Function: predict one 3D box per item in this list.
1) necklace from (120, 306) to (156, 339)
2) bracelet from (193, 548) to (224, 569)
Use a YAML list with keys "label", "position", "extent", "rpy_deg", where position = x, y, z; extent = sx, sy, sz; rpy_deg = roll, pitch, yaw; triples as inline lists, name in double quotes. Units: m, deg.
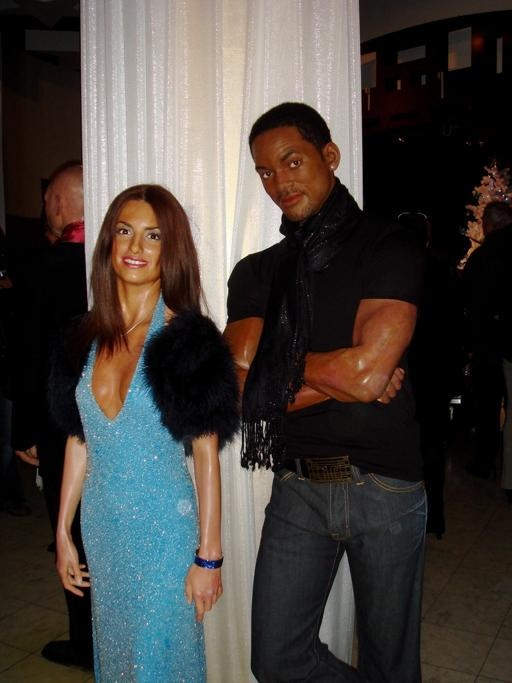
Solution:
- label: "necklace"
  position: [-0.307, -0.057, 1.610]
  extent: [0.060, 0.107, 0.024]
  rpy_deg: [13, -18, 19]
- label: "bracelet"
  position: [-0.112, 0.501, 1.436]
  extent: [0.065, 0.051, 0.051]
  rpy_deg: [-1, 3, -5]
